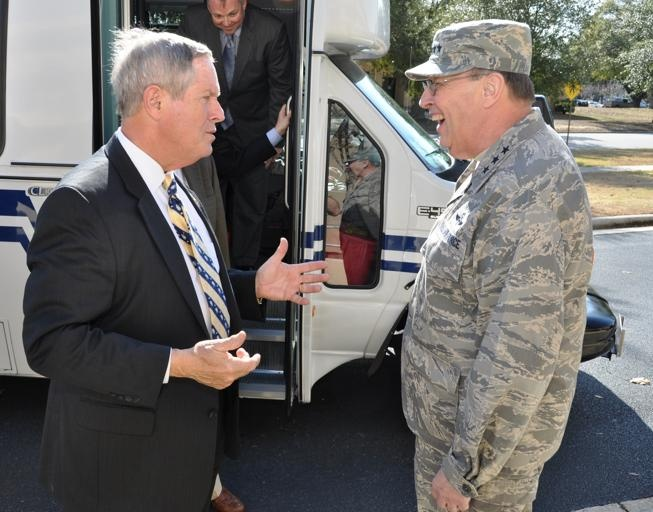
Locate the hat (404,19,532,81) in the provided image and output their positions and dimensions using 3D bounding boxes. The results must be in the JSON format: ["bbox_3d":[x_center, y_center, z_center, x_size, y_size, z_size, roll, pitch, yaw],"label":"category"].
[{"bbox_3d":[0.677,-0.935,2.890,0.365,0.193,0.300,-8,16,6],"label":"hat"}]
